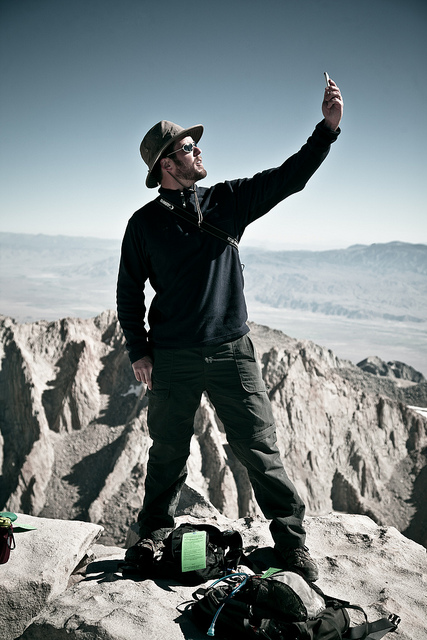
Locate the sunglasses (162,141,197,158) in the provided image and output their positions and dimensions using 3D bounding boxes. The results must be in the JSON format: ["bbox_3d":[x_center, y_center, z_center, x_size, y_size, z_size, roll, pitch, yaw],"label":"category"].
[{"bbox_3d":[-0.208,-1.065,3.493,0.202,0.127,0.113,5,3,-10],"label":"sunglasses"}]

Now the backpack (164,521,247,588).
[{"bbox_3d":[-0.056,1.426,3.444,0.399,0.165,0.295,1,10,-18],"label":"backpack"}]

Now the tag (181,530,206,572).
[{"bbox_3d":[-0.117,1.372,3.357,0.153,0.252,0.035,-1,6,-13],"label":"tag"}]
